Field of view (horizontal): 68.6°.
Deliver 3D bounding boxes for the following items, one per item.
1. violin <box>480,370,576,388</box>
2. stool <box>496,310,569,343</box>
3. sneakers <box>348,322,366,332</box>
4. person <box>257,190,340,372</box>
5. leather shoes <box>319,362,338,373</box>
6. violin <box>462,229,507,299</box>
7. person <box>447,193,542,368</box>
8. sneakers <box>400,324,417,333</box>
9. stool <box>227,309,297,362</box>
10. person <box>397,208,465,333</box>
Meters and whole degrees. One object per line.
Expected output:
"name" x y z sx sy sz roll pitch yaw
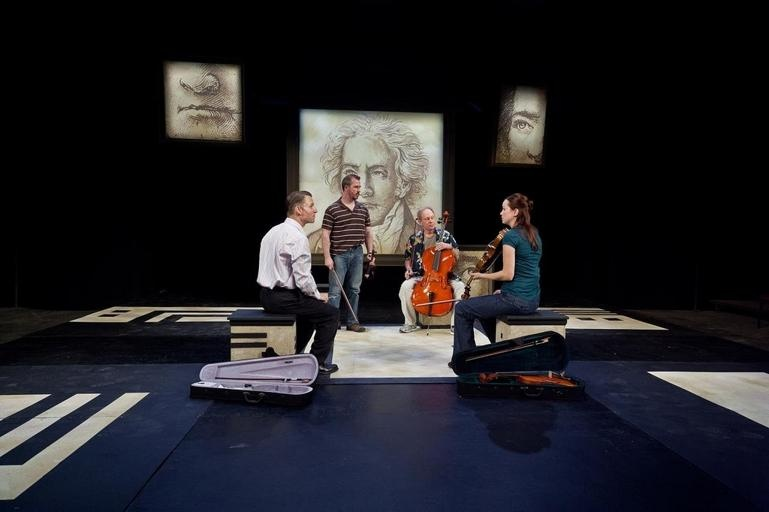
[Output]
"violin" 1.403 1.167 5.312 0.529 0.099 0.295 -1 -6 0
"stool" 1.539 0.610 5.821 0.550 0.509 0.380 0 -1 -11
"sneakers" -0.364 0.947 7.410 0.098 0.093 0.246 3 -8 -43
"person" -0.858 0.264 5.735 0.799 1.808 0.384 6 10 25
"leather shoes" -0.566 1.139 5.727 0.132 0.045 0.093 -1 6 18
"violin" 1.206 0.021 6.605 0.171 1.004 0.410 30 19 -12
"person" 1.168 0.177 5.798 0.850 1.621 0.394 2 9 4
"sneakers" 0.305 0.967 7.425 0.228 0.091 0.087 4 -5 -23
"stool" -1.216 0.817 5.633 0.627 0.442 0.147 0 9 -10
"person" 0.568 0.128 7.400 0.803 1.697 0.627 2 -4 8
